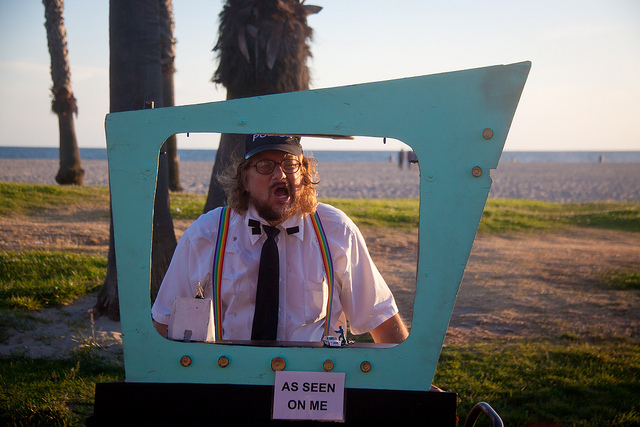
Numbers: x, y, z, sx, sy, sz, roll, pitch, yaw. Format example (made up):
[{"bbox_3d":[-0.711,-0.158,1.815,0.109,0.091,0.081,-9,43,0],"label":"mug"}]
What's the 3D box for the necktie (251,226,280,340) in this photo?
[{"bbox_3d":[-0.640,0.840,11.939,0.268,1.247,0.275,2,5,-4],"label":"necktie"}]
